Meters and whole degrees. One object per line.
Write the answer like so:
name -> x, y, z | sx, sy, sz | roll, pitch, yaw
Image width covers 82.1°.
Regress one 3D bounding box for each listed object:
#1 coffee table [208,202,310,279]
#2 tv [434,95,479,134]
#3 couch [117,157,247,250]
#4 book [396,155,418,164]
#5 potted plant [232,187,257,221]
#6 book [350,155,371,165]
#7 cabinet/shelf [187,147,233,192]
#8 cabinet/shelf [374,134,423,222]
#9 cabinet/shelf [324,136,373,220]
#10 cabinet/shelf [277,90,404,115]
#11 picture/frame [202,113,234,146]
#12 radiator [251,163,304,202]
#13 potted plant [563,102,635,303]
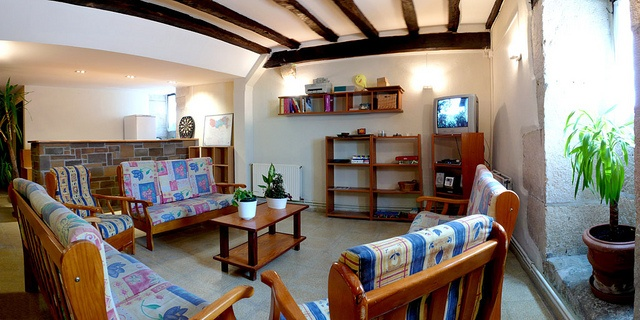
coffee table -> -0.979, 1.336, 6.356 | 0.973, 0.714, 1.671 | 2, 6, 24
tv -> 2.481, -0.857, 7.168 | 0.901, 0.670, 0.476 | -2, 4, -12
couch -> -2.586, 0.691, 6.995 | 1.129, 1.179, 2.087 | 13, 12, 30
book -> 1.772, 0.002, 7.465 | 0.423, 0.147, 0.183 | -2, 7, 11
potted plant -> -1.276, 0.712, 6.073 | 0.427, 0.444, 0.504 | -1, -1, -36
book -> 0.835, -0.006, 7.677 | 0.389, 0.156, 0.135 | -2, 8, 15
cabinet/shelf -> -2.370, 0.226, 8.110 | 1.200, 1.055, 0.331 | -4, -4, -18
cabinet/shelf -> 1.562, 0.076, 7.600 | 0.884, 1.266, 0.432 | -3, 9, 10
cabinet/shelf -> 0.612, 0.348, 7.802 | 1.037, 1.734, 0.698 | -3, 8, 9
cabinet/shelf -> 0.422, -1.202, 7.861 | 2.579, 0.419, 0.473 | -1, -2, 17
picture/frame -> -2.503, -0.752, 9.118 | 0.986, 0.709, 0.092 | 2, 2, 24
radiator -> -1.027, 0.484, 8.301 | 1.375, 0.791, 0.133 | 7, -12, -42
potted plant -> 3.860, 0.581, 5.095 | 0.809, 2.617, 0.949 | 0, 9, 31
